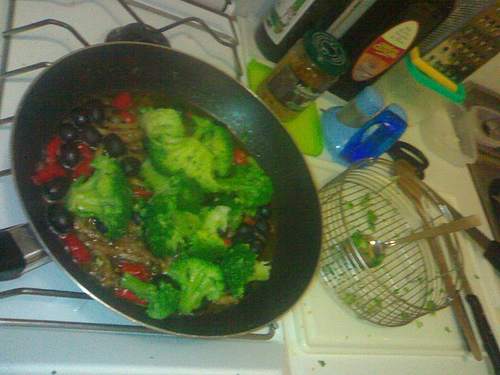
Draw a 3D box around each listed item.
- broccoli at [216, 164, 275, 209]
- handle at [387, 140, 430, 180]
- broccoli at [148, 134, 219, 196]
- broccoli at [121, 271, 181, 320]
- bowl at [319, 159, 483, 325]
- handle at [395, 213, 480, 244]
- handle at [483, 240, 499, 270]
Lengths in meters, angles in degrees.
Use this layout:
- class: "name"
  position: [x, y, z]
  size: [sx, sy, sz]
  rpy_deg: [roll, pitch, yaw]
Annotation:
- class: "broccoli"
  position: [-0.008, -0.007, 1.993]
  size: [0.290, 0.104, 0.179]
  rpy_deg: [8, 51, 2]
- class: "handle"
  position: [0.899, -0.141, 2.428]
  size: [0.268, 0.069, 0.189]
  rpy_deg: [41, 49, 2]
- class: "broccoli"
  position: [-0.305, -0.125, 1.942]
  size: [0.350, 0.090, 0.262]
  rpy_deg: [38, 41, -5]
- class: "broccoli"
  position: [-0.399, 0.427, 1.739]
  size: [0.183, 0.060, 0.261]
  rpy_deg: [-34, 78, -31]
- class: "bowl"
  position: [0.660, 0.301, 2.415]
  size: [1.065, 0.721, 0.659]
  rpy_deg: [-19, 85, -40]
- class: "handle"
  position: [0.847, 0.195, 1.864]
  size: [0.249, 0.274, 0.047]
  rpy_deg: [-10, 74, -26]
- class: "handle"
  position: [1.366, 0.365, 2.318]
  size: [0.139, 0.032, 0.113]
  rpy_deg: [-10, 78, -34]
